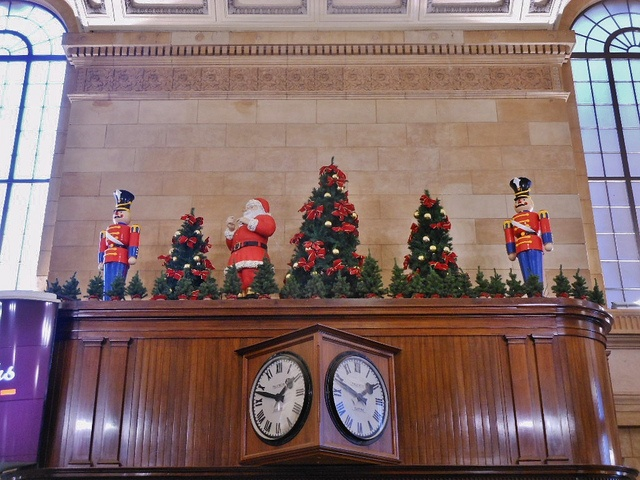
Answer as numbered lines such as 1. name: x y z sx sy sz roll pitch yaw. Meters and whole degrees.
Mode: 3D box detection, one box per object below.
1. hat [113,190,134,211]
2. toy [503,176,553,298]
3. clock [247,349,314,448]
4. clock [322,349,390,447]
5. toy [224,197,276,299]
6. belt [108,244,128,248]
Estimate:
1. hat: -2.228 -0.430 7.260 0.296 0.226 0.246 1 -6 3
2. toy: 2.232 -0.124 7.061 0.395 1.250 0.457 5 -20 -17
3. clock: -0.303 1.168 4.834 0.677 0.623 0.051 -22 -36 39
4. clock: 0.243 1.175 4.784 0.710 0.634 0.072 19 -38 -37
5. toy: -0.749 0.059 6.957 0.519 1.303 1.207 2 -18 -8
6. belt: -2.120 0.074 6.872 0.103 0.033 0.065 5 -4 -43
